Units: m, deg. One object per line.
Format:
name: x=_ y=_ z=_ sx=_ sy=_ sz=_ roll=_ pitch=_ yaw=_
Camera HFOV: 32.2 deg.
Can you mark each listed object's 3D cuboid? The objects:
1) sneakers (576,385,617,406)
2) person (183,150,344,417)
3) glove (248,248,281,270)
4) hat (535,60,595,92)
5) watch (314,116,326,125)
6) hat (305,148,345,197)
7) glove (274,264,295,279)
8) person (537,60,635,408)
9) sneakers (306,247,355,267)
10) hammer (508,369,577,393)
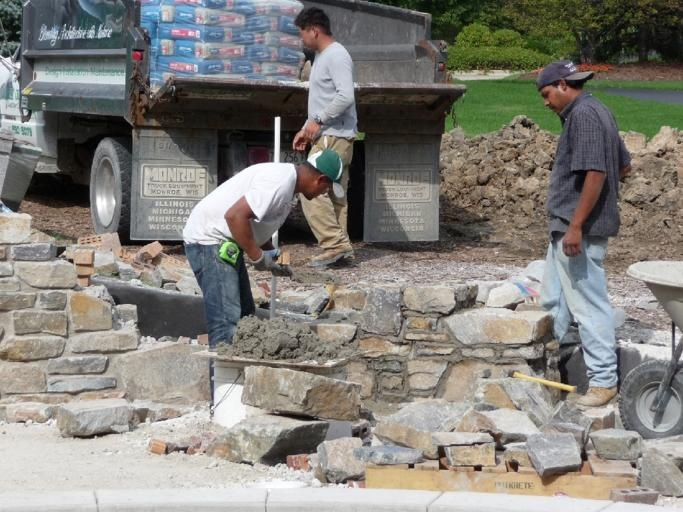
sneakers: x=2.084 y=1.142 z=9.708 sx=0.275 sy=0.121 sz=0.151 roll=-6 pitch=4 yaw=-18
person: x=-0.664 y=-0.043 z=9.512 sx=1.174 sy=1.564 sz=0.597 roll=-3 pitch=9 yaw=-11
glove: x=-0.596 y=0.024 z=9.475 sx=0.161 sy=0.168 sz=0.391 roll=1 pitch=10 yaw=14
hat: x=1.815 y=-1.475 z=9.724 sx=0.357 sy=0.149 sz=0.247 roll=-3 pitch=9 yaw=12
watch: x=-0.212 y=-1.331 z=11.866 sx=0.089 sy=0.082 sz=0.060 roll=42 pitch=26 yaw=7
hat: x=-0.128 y=-0.645 z=9.467 sx=0.277 sy=0.377 sz=0.315 roll=-2 pitch=9 yaw=-4
glove: x=-0.483 y=0.138 z=9.987 sx=0.157 sy=0.103 sz=0.266 roll=4 pitch=1 yaw=3
person: x=1.959 y=-0.184 z=9.745 sx=0.711 sy=2.766 sz=0.602 roll=1 pitch=9 yaw=10
sneakers: x=-0.118 y=0.017 z=12.422 sx=0.483 sy=0.274 sz=0.195 roll=-7 pitch=11 yaw=-2
hammer: x=1.615 y=1.020 z=9.643 sx=0.478 sy=0.072 sz=0.103 roll=17 pitch=-31 yaw=-9
